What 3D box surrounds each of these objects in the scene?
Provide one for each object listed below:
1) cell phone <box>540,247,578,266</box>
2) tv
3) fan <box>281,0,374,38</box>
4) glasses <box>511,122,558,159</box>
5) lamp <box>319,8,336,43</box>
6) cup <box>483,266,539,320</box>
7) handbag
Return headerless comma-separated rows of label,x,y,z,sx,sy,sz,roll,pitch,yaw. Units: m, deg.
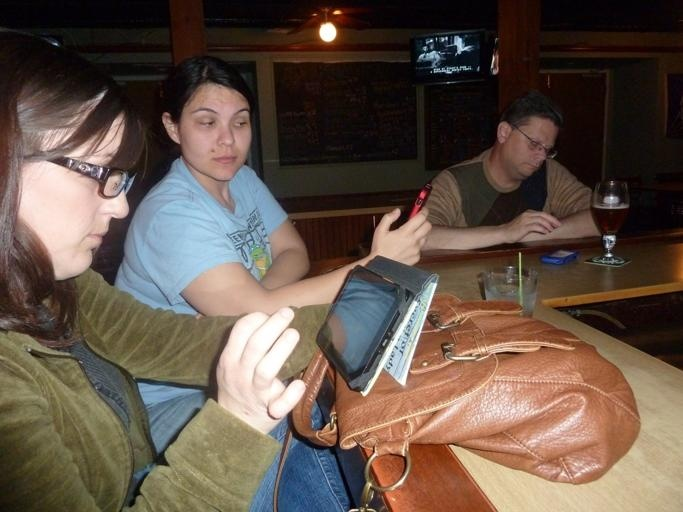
cell phone,0.790,0.004,1.800,0.168,0.030,0.096,-14,17,-43
tv,1.152,-2.083,5.208,0.261,0.528,1.045,-11,15,-33
fan,-0.206,-2.764,5.746,0.628,0.267,0.635,-4,8,-5
glasses,0.987,-0.619,2.614,0.170,0.069,0.225,9,39,-56
lamp,-0.164,-2.550,5.494,0.161,0.268,0.395,-3,13,-3
cup,0.442,0.091,1.374,0.135,0.163,0.145,-3,9,1
handbag,0.248,0.243,0.940,0.415,0.141,0.335,2,11,7
